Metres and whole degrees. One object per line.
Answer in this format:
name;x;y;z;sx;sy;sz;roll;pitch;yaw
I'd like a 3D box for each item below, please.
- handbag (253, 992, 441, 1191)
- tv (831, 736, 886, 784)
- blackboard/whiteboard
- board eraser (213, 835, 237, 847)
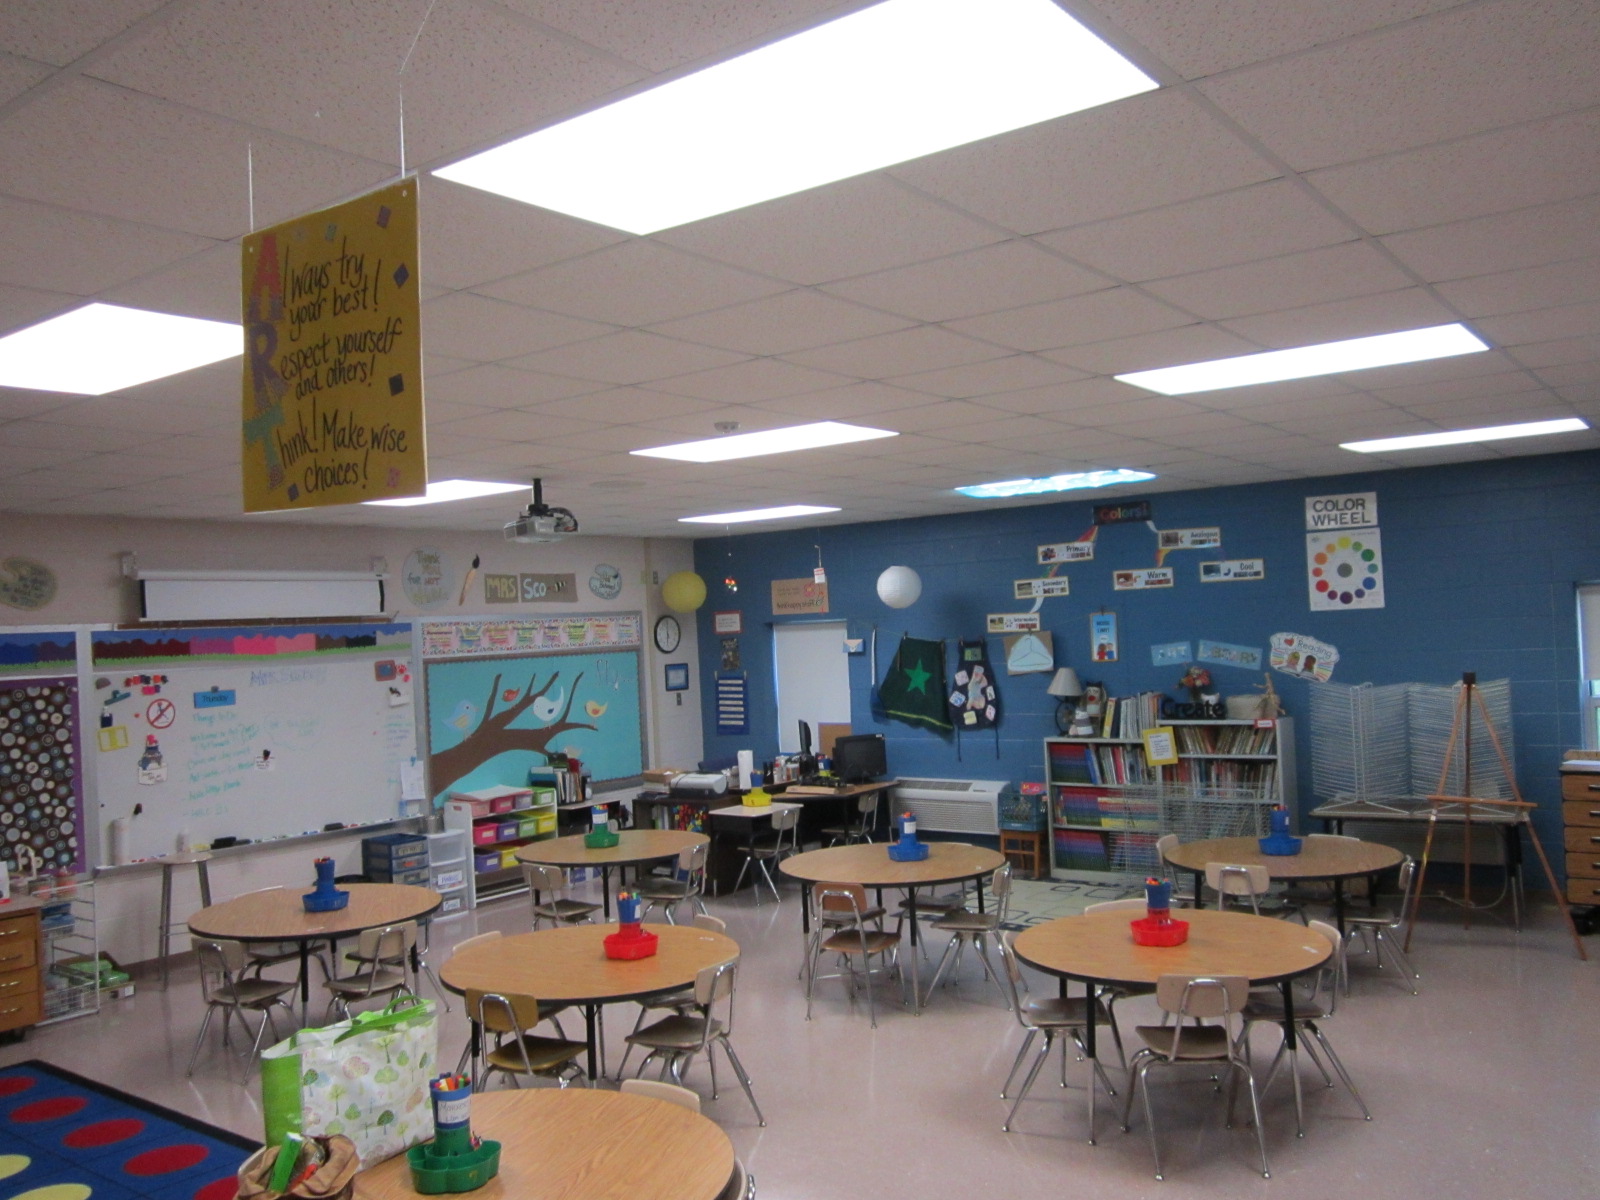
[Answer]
handbag;-1.415;1.566;3.619;0.541;0.548;0.299;-4;3;-29
tv;0.609;1.560;11.451;0.518;0.509;0.387;1;-2;11
blackboard/whiteboard;-4.183;1.109;9.175;0.061;1.691;2.705;-7;-4;31
board eraser;-4.399;1.828;8.808;0.047;0.099;0.145;-3;-10;38
